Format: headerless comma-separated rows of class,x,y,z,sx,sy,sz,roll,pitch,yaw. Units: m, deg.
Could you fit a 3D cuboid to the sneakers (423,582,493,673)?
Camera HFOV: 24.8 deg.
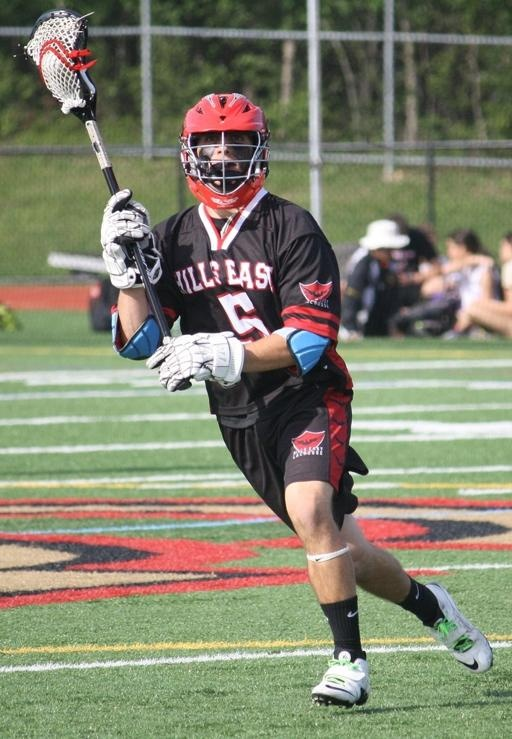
sneakers,0.605,0.785,3.529,0.123,0.100,0.312,14,28,-49

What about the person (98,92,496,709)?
person,0.068,0.043,3.450,0.685,1.738,1.017,-12,14,-43

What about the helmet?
helmet,-0.103,-0.635,3.571,0.284,0.313,0.349,-2,-9,0

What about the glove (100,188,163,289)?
glove,-0.368,-0.380,3.440,0.191,0.279,0.138,-14,2,6

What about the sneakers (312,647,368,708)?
sneakers,0.227,0.842,3.112,0.115,0.143,0.140,3,11,28

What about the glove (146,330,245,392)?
glove,-0.172,-0.019,3.292,0.269,0.111,0.175,-10,17,-13
